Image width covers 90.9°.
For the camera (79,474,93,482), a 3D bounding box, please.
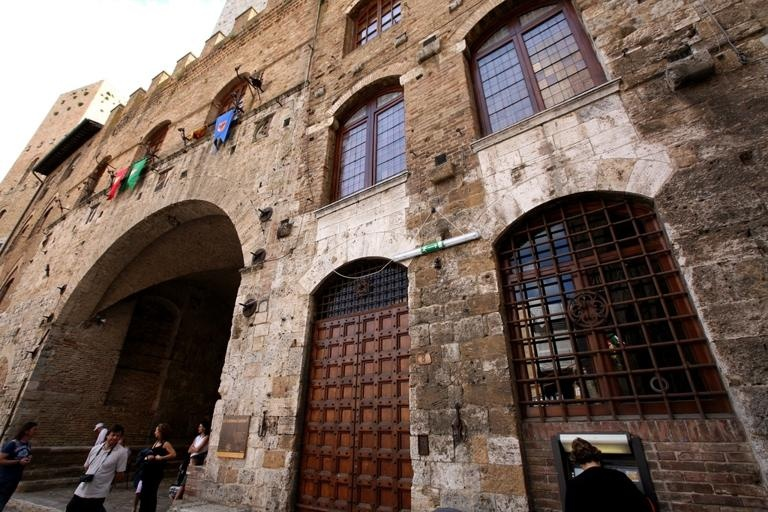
[{"bbox_3d":[-4.639,3.444,5.930,0.116,0.058,0.157,-25,-29,34],"label":"camera"}]
